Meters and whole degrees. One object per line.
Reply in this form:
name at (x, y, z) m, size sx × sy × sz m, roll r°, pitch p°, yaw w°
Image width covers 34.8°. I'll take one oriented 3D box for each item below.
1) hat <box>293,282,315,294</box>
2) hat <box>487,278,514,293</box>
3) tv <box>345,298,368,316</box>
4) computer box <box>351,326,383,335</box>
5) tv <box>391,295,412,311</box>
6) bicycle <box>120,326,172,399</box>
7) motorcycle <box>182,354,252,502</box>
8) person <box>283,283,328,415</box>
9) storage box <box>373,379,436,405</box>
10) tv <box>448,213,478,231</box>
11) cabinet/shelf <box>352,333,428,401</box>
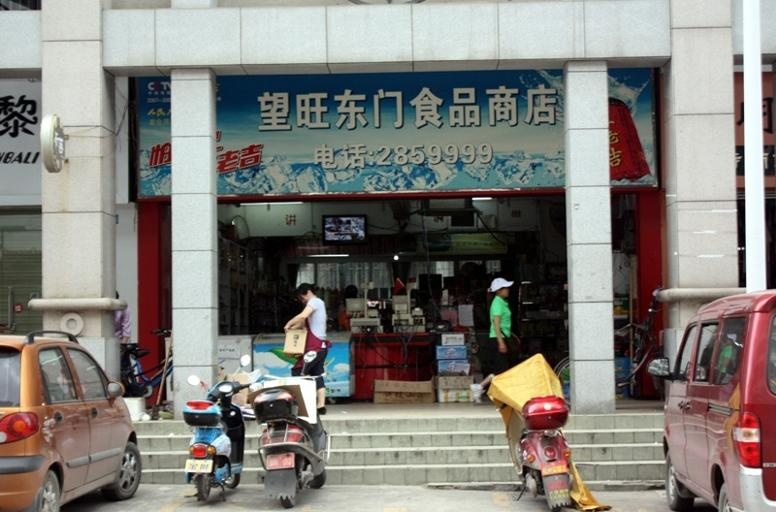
hat at (-1.425, 0.561, 21.355) m, size 0.374 × 0.191 × 0.259 m, roll 3°, pitch -7°, yaw -2°
hat at (1.905, 0.485, 20.214) m, size 0.466 × 0.180 × 0.298 m, roll -12°, pitch 3°, yaw -1°
tv at (-0.548, 0.907, 21.554) m, size 0.310 × 0.189 × 0.300 m, roll -1°, pitch 43°, yaw -1°
computer box at (-0.349, 1.272, 21.102) m, size 0.518 × 0.142 × 0.161 m, roll -2°, pitch 0°, yaw 0°
tv at (0.246, 0.847, 21.529) m, size 0.356 × 0.331 × 0.239 m, roll 1°, pitch -13°, yaw -3°
bicycle at (-3.836, 1.881, 19.860) m, size 0.963 × 1.397 × 0.715 m, roll 2°, pitch 6°, yaw 7°
motorcycle at (-2.226, 2.394, 16.153) m, size 0.704 × 1.503 × 2.225 m, roll -1°, pitch -3°, yaw 10°
person at (-1.297, 1.368, 18.413) m, size 0.764 × 1.866 × 0.723 m, roll 2°, pitch 6°, yaw 4°
storage box at (0.295, 2.241, 20.471) m, size 1.025 × 0.393 × 0.356 m, roll -2°, pitch 0°, yaw -1°
tv at (1.568, -0.694, 25.667) m, size 0.633 × 0.330 × 0.413 m, roll -1°, pitch 4°, yaw 9°
cabinet/shelf at (0.077, 1.896, 21.068) m, size 1.461 × 1.054 × 0.995 m, roll 3°, pitch 3°, yaw 31°
